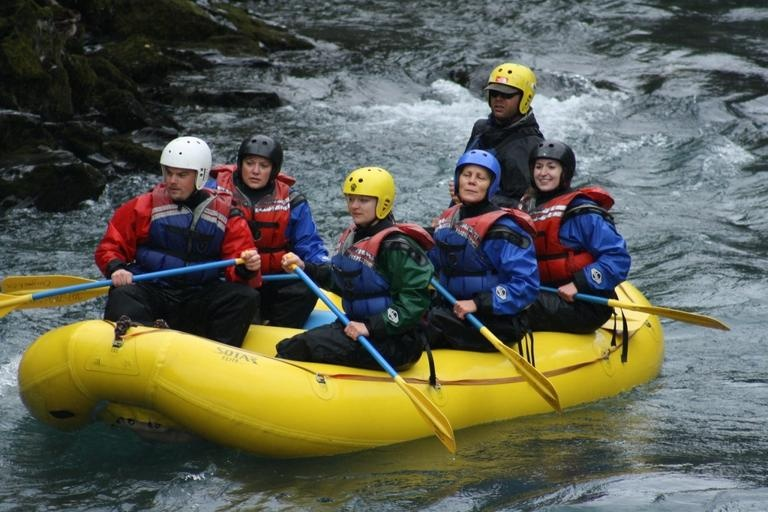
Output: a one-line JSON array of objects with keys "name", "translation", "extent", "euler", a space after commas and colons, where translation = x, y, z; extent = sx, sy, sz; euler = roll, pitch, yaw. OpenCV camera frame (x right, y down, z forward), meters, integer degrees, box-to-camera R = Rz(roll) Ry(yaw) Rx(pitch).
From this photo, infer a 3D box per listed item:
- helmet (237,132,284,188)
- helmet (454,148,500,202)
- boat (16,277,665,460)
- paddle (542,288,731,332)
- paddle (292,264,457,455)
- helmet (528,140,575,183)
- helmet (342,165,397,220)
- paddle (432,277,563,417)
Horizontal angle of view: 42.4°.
[{"name": "helmet", "translation": [-1.365, -0.984, 10.832], "extent": [0.526, 0.484, 0.568], "euler": [18, -19, -18]}, {"name": "helmet", "translation": [1.111, -0.905, 10.529], "extent": [0.523, 0.498, 0.589], "euler": [6, -20, 14]}, {"name": "boat", "translation": [-0.490, 1.231, 10.000], "extent": [6.158, 1.340, 0.892], "euler": [-2, 12, -12]}, {"name": "paddle", "translation": [2.883, 0.635, 11.282], "extent": [2.091, 0.189, 0.088], "euler": [11, 35, 0]}, {"name": "paddle", "translation": [-0.056, 1.105, 9.903], "extent": [2.663, 0.275, 0.275], "euler": [39, -25, 10]}, {"name": "helmet", "translation": [1.883, -1.071, 11.016], "extent": [0.513, 0.396, 0.526], "euler": [22, 12, 29]}, {"name": "helmet", "translation": [-0.118, -0.662, 10.124], "extent": [0.547, 0.427, 0.556], "euler": [7, 13, 13]}, {"name": "paddle", "translation": [1.150, 0.991, 10.300], "extent": [2.018, 0.230, 0.177], "euler": [42, 38, 15]}]
